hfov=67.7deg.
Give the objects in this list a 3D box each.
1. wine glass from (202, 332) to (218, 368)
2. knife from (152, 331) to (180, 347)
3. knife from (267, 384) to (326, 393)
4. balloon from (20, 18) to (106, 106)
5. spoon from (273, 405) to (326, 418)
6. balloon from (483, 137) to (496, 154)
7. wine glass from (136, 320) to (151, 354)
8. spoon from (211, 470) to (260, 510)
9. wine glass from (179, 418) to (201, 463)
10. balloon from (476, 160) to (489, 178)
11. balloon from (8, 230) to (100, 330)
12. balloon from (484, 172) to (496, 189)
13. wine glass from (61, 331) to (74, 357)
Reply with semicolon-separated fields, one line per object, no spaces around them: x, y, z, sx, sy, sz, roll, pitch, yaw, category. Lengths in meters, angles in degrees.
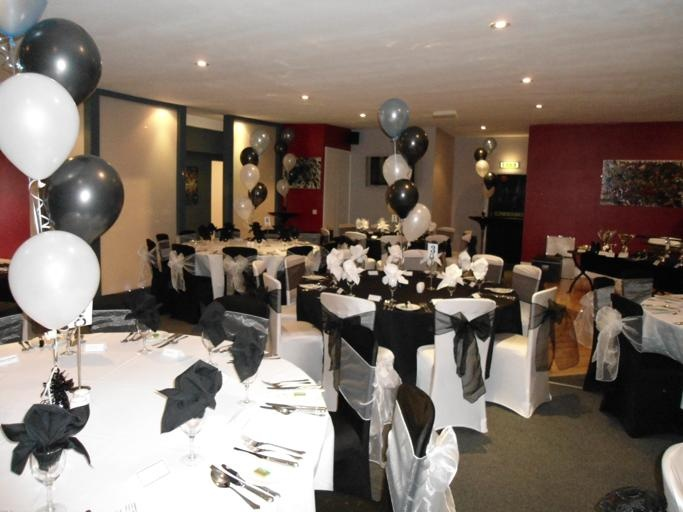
-0.767;0.501;2.931;0.079;0.197;0.277;1;6;-14;wine glass
-1.086;0.507;3.166;0.048;0.007;0.178;10;9;13;knife
-0.252;0.691;2.697;0.281;0.021;0.061;2;6;-6;knife
-1.655;-1.195;3.168;0.382;0.506;0.406;2;30;-11;balloon
-0.201;0.757;2.509;0.284;0.056;0.083;4;4;1;spoon
3.387;-2.543;11.555;0.253;0.317;0.416;4;6;12;balloon
-1.200;0.464;3.063;0.074;0.193;0.193;0;7;-23;wine glass
-0.444;0.932;2.046;0.290;0.068;0.057;8;8;38;spoon
-0.656;0.762;2.220;0.086;0.201;0.192;0;6;-19;wine glass
3.242;-2.007;11.589;0.274;0.390;0.299;5;6;19;balloon
-1.262;0.097;2.480;0.386;0.553;0.420;-1;0;-16;balloon
3.412;-1.733;11.624;0.296;0.428;0.328;-1;-1;-8;balloon
-1.645;0.501;3.044;0.063;0.118;0.261;-1;7;-28;wine glass
